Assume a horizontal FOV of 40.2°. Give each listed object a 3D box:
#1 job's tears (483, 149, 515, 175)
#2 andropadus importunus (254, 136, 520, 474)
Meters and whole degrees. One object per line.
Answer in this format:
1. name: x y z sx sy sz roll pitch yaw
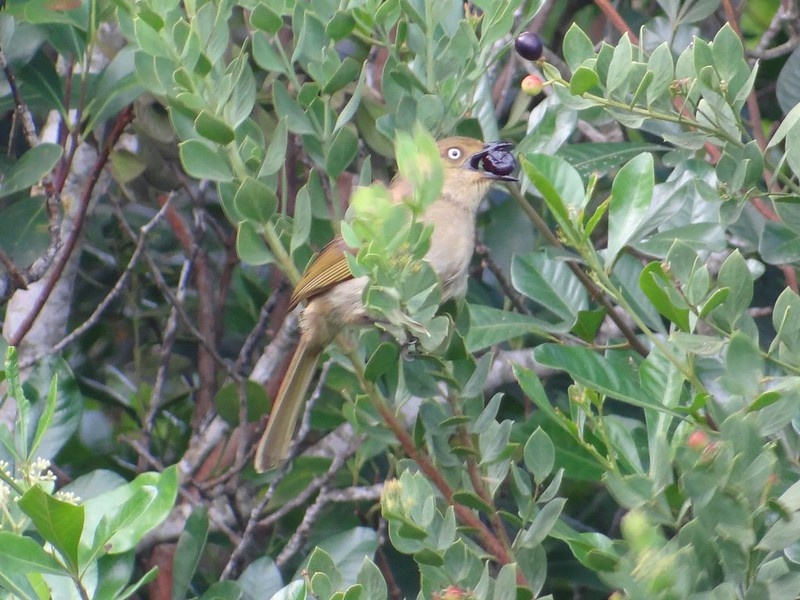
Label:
1. job's tears: 0.307 -0.427 3.427 0.092 0.091 0.053 2 0 19
2. andropadus importunus: -0.100 -0.093 3.525 0.577 1.128 0.349 60 10 -12
